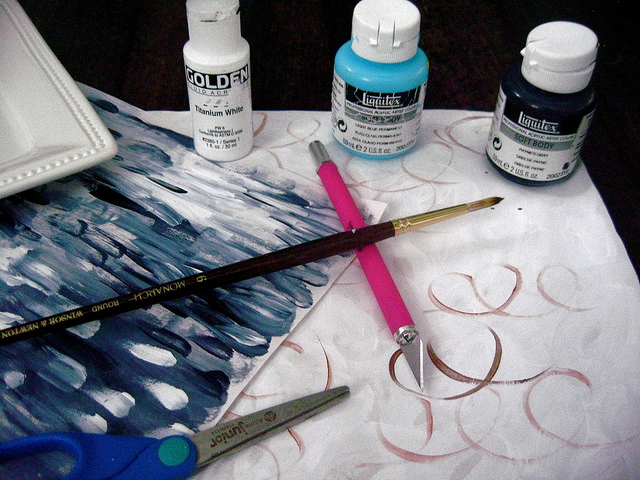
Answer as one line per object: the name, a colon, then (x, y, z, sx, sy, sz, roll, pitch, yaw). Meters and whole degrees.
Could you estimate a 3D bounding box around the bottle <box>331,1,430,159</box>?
bottle: (0.063, -0.162, 0.600, 0.097, 0.154, 0.085, 8, 55, 10)

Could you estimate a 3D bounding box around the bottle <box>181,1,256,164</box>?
bottle: (-0.108, -0.158, 0.588, 0.063, 0.159, 0.084, 8, 55, 10)

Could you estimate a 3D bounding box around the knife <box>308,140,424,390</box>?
knife: (0.051, 0.018, 0.536, 0.025, 0.270, 0.021, -34, 16, -28)

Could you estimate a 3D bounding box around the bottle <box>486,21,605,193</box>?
bottle: (0.236, -0.145, 0.588, 0.103, 0.157, 0.104, -2, 51, 2)
